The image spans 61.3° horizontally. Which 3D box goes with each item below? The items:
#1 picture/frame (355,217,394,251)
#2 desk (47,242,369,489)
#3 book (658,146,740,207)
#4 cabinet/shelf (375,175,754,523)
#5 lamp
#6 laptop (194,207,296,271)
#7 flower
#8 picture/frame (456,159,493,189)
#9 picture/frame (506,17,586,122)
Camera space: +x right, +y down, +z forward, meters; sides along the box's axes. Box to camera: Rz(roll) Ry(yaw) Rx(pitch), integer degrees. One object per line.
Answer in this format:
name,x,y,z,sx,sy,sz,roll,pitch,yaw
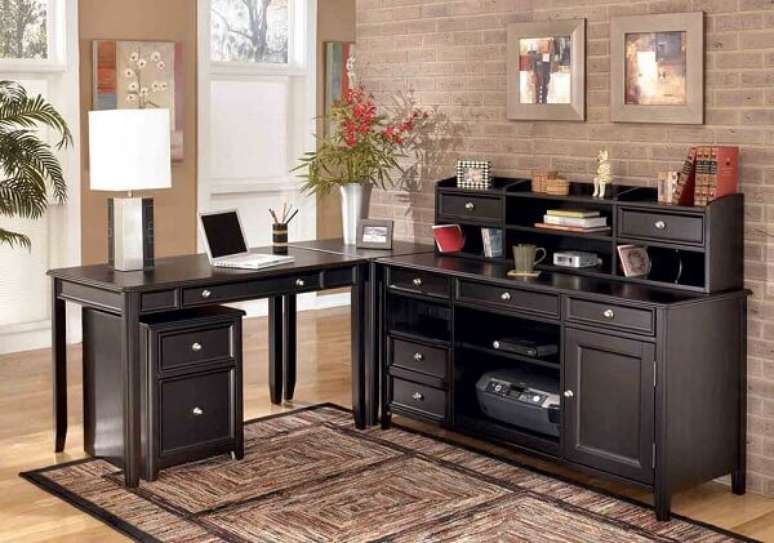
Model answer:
picture/frame,-0.086,-0.235,4.255,0.239,0.175,0.023,3,-3,14
desk,-0.965,0.450,3.849,1.564,0.915,0.766,-5,7,-45
book,1.500,-0.463,3.148,0.357,0.285,0.265,6,11,25
cabinet/shelf,0.916,0.243,3.820,0.822,1.317,2.111,-5,6,-35
lamp,-1.362,-0.439,3.489,0.406,0.853,0.253,-3,12,-20
laptop,-0.802,-0.211,3.665,0.430,0.275,0.387,5,9,20
flower,-0.070,-0.641,4.666,0.752,0.888,0.876,-4,0,35
picture/frame,0.541,-0.590,4.017,0.237,0.179,0.040,5,5,38
picture/frame,0.947,-1.186,3.809,0.702,0.711,0.032,7,12,43
